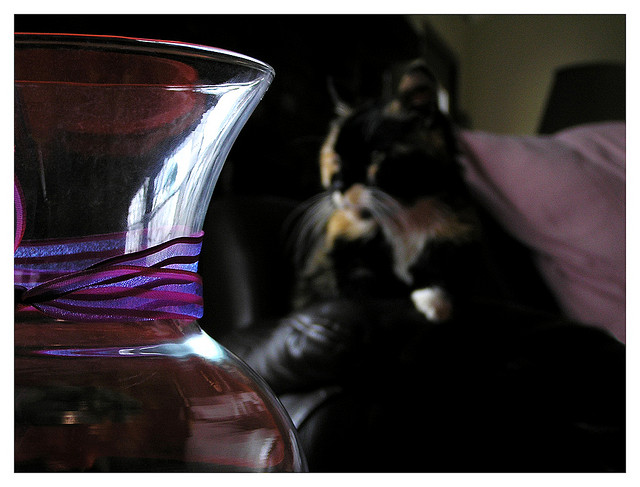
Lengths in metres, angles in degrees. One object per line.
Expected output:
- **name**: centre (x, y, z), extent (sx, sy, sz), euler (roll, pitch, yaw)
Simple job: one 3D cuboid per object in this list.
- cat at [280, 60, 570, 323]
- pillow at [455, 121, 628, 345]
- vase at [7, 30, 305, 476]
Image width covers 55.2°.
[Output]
- **cat**: centre (0.152, -0.073, 0.853), extent (0.407, 0.340, 0.128), euler (4, 19, -3)
- **pillow**: centre (0.339, -0.009, 0.907), extent (0.291, 0.285, 0.088), euler (1, -2, 0)
- **vase**: centre (-0.175, 0.032, 0.834), extent (0.438, 0.446, 0.439), euler (2, -5, 5)
